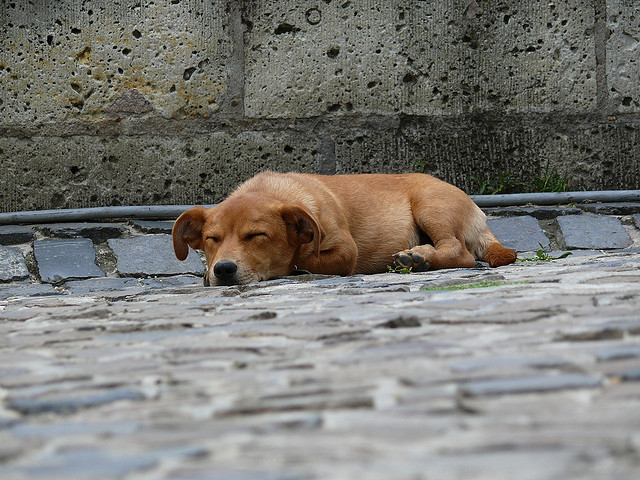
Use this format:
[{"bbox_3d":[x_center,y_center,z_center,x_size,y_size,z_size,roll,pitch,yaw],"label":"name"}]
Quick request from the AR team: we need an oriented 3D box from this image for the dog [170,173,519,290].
[{"bbox_3d":[0.201,-0.079,5.877,2.045,0.530,0.895,0,-7,-29],"label":"dog"}]
